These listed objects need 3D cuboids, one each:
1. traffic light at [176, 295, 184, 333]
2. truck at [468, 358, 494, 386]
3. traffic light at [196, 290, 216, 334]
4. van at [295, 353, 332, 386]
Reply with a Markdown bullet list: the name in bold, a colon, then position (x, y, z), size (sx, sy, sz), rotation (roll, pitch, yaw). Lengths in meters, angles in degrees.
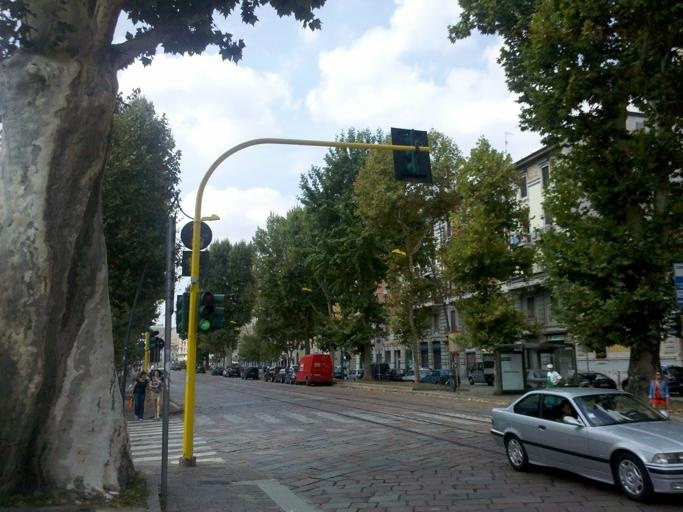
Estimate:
- **traffic light**: position (-3.308, 1.184, 14.518), size (0.198, 0.776, 0.586), rotation (2, -11, -13)
- **truck**: position (9.431, 7.866, 47.500), size (1.068, 1.174, 1.899), rotation (2, -6, -9)
- **traffic light**: position (-2.760, 1.144, 14.390), size (0.340, 0.862, 0.459), rotation (1, -11, -11)
- **van**: position (-1.877, 8.479, 52.631), size (1.607, 1.779, 3.197), rotation (3, -9, -14)
